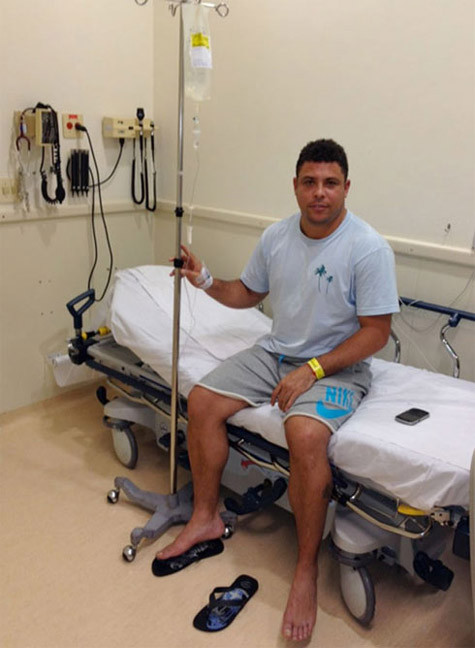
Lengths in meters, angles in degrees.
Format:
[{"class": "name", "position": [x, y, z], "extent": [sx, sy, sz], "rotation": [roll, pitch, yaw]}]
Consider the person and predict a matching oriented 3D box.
[{"class": "person", "position": [0.090, 0.104, 1.795], "extent": [0.744, 1.386, 0.845], "rotation": [10, 17, 30]}]

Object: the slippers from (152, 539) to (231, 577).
[{"class": "slippers", "position": [-0.173, 0.756, 1.833], "extent": [0.233, 0.064, 0.088], "rotation": [-8, 14, -34]}]

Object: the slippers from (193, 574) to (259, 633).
[{"class": "slippers", "position": [-0.032, 0.843, 1.640], "extent": [0.078, 0.045, 0.213], "rotation": [5, 8, 30]}]

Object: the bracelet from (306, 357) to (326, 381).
[{"class": "bracelet", "position": [0.253, 0.149, 1.769], "extent": [0.042, 0.053, 0.055], "rotation": [-12, 20, -42]}]

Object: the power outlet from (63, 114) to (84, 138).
[{"class": "power outlet", "position": [-0.858, -0.984, 2.700], "extent": [0.110, 0.113, 0.025], "rotation": [-2, 10, -42]}]
